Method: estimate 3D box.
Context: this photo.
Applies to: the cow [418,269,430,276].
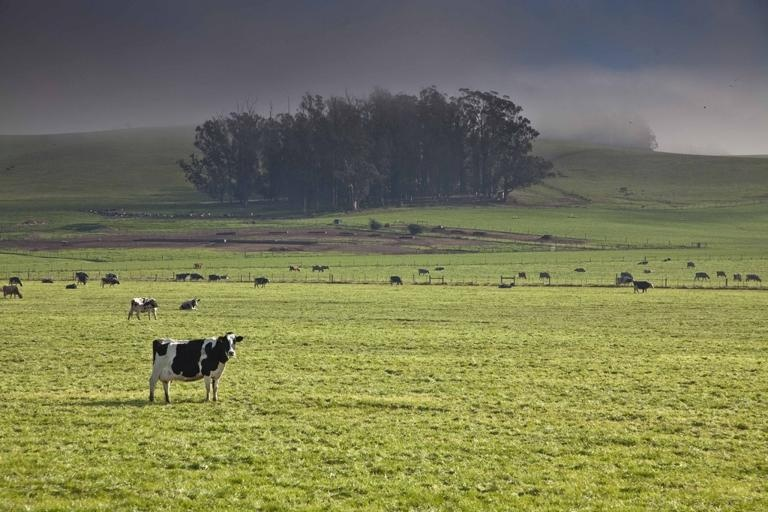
[{"bbox_3d":[10.297,3.931,283.590,2.954,1.189,4.517,0,12,0],"label":"cow"}]
